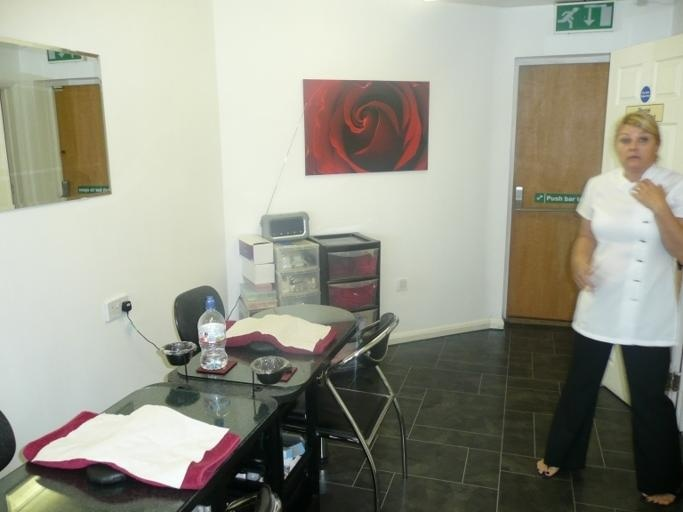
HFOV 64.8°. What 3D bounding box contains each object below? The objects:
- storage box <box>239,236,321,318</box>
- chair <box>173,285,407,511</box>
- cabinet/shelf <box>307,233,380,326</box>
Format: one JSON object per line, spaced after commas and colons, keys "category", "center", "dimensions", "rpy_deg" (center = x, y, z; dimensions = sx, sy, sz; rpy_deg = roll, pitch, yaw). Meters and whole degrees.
{"category": "storage box", "center": [-0.456, 0.089, 4.458], "dimensions": [0.636, 0.907, 0.598], "rpy_deg": [-6, 5, -38]}
{"category": "chair", "center": [-0.202, 0.665, 3.430], "dimensions": [1.297, 1.230, 1.204], "rpy_deg": [7, 20, 22]}
{"category": "cabinet/shelf", "center": [0.013, 0.289, 4.533], "dimensions": [0.535, 0.781, 0.457], "rpy_deg": [-7, 11, -30]}
